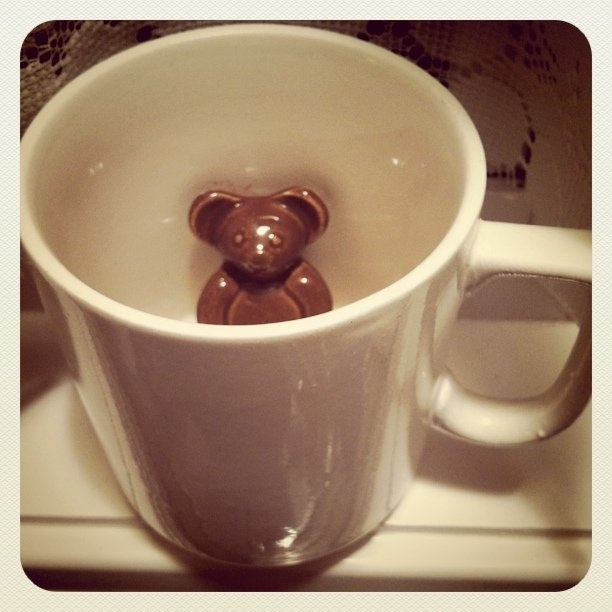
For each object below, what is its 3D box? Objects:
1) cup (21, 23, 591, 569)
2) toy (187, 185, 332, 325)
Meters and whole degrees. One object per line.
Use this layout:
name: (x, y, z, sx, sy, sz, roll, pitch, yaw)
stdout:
cup: (0.008, 0.008, 0.294, 0.229, 0.176, 0.180, 13, 49, 10)
toy: (-0.022, -0.032, 0.342, 0.085, 0.063, 0.061, 0, 84, -10)
